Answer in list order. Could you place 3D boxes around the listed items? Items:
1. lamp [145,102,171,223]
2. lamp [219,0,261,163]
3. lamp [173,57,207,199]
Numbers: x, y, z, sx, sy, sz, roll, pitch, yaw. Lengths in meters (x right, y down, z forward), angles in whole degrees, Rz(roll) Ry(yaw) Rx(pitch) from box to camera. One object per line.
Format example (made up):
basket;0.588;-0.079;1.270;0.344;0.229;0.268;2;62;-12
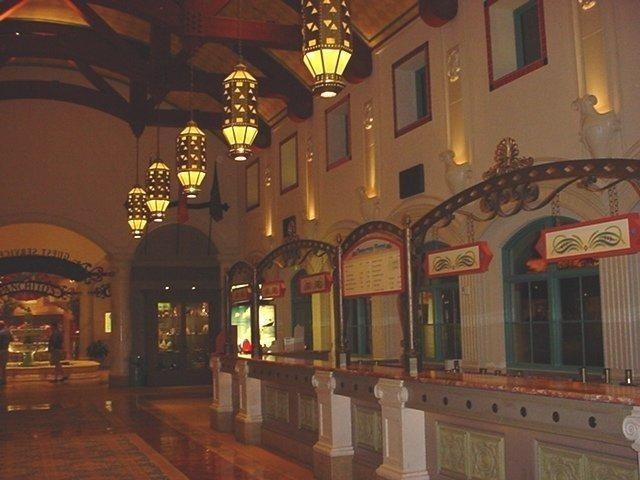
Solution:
lamp;-3.067;-1.031;12.672;0.417;1.326;0.784;2;-11;-15
lamp;-1.088;-1.785;9.100;0.465;1.396;0.391;0;-11;-9
lamp;-2.043;-1.329;10.635;0.465;1.364;0.559;1;-11;-13
